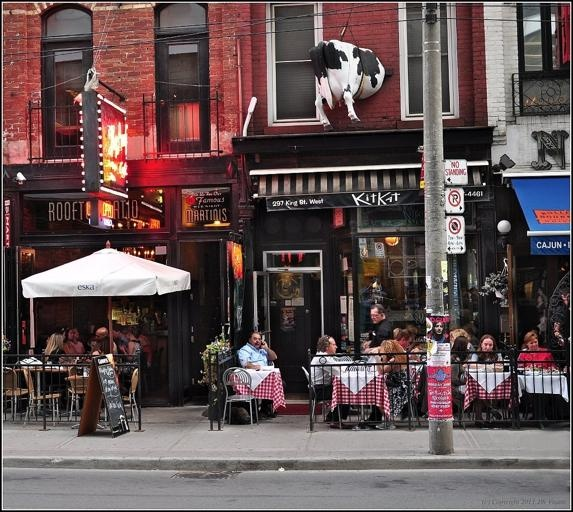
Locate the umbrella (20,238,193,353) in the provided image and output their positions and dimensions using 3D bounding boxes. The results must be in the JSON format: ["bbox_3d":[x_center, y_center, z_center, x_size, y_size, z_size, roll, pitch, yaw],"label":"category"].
[{"bbox_3d":[-3.382,0.344,22.956,2.903,0.897,1.077,-3,-4,0],"label":"umbrella"}]

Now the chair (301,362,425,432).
[{"bbox_3d":[1.292,2.319,21.832,1.670,0.860,1.282,0,-2,2],"label":"chair"}]

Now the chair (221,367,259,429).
[{"bbox_3d":[-0.897,2.537,22.155,0.635,0.944,0.742,3,1,-8],"label":"chair"}]

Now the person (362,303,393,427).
[{"bbox_3d":[1.669,1.852,22.789,0.567,1.806,0.718,2,2,21],"label":"person"}]

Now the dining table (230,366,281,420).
[{"bbox_3d":[-0.517,2.447,22.006,0.697,0.761,0.731,2,1,8],"label":"dining table"}]

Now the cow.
[{"bbox_3d":[1.184,-3.321,23.854,1.394,1.662,0.649,-3,-4,1],"label":"cow"}]
